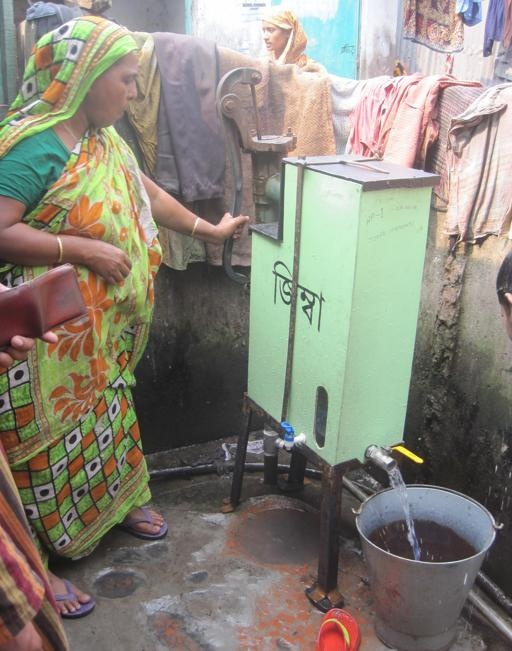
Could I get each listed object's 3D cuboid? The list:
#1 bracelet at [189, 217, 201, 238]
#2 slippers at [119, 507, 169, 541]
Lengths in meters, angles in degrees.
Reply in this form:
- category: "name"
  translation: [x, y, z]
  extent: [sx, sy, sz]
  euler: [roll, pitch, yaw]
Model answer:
- category: "bracelet"
  translation: [-0.266, -0.431, 2.465]
  extent: [0.022, 0.066, 0.055]
  euler: [13, 11, -4]
- category: "slippers"
  translation: [-0.511, 0.927, 2.613]
  extent: [0.198, 0.070, 0.114]
  euler: [8, 17, 34]
